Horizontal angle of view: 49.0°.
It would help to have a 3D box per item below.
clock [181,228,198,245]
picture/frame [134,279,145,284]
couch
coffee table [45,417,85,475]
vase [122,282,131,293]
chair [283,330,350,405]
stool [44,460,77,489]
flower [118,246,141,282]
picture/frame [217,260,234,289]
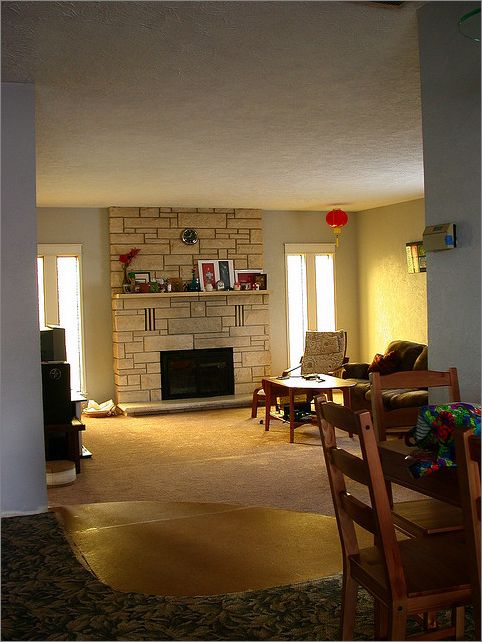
[{"bbox_3d":[-0.750,-1.229,7.649,0.251,0.223,0.058,10,-2,-29],"label":"clock"},{"bbox_3d":[-1.430,-0.571,7.514,0.129,0.058,0.081,0,1,-9],"label":"picture/frame"},{"bbox_3d":[1.672,0.654,6.086,0.756,0.822,1.285,-5,0,-7],"label":"couch"},{"bbox_3d":[-1.497,1.059,4.603,0.436,0.367,0.415,-2,5,-24],"label":"coffee table"},{"bbox_3d":[-1.569,-0.456,7.277,0.104,0.128,0.044,1,2,-25],"label":"vase"},{"bbox_3d":[0.937,0.625,6.672,0.871,0.877,0.858,-2,6,9],"label":"chair"},{"bbox_3d":[-1.418,1.179,4.170,0.250,0.099,0.232,1,6,-5],"label":"stool"},{"bbox_3d":[-1.566,-0.783,7.392,0.294,0.499,0.134,0,-5,-12],"label":"flower"},{"bbox_3d":[-0.226,-0.705,7.895,0.239,0.430,0.039,0,-5,-17],"label":"picture/frame"}]
